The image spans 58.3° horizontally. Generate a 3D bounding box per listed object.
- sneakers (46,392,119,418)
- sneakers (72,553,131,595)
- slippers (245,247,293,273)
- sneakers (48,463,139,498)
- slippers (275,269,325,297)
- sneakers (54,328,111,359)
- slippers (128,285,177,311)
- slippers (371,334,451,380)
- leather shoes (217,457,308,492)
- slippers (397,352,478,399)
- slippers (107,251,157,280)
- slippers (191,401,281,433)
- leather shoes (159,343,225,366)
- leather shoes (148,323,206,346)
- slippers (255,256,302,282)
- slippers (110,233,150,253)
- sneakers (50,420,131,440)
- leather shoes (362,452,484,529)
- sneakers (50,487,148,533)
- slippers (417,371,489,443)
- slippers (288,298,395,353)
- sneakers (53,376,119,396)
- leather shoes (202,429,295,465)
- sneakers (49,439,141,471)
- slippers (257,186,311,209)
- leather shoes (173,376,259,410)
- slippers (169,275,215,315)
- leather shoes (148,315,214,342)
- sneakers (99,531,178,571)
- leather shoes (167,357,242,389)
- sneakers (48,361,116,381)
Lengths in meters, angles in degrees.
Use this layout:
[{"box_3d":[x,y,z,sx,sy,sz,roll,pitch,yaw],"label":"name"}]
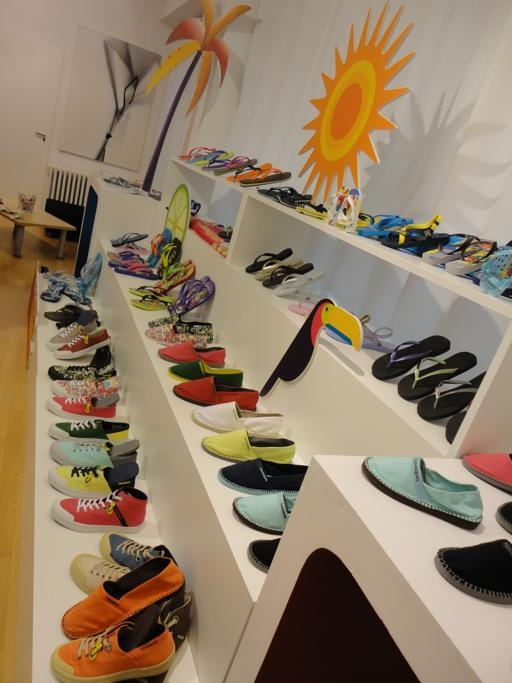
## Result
[{"box_3d":[-0.676,0.248,1.772,0.239,0.086,0.093,7,5,-19],"label":"sneakers"},{"box_3d":[-0.365,0.518,1.042,0.165,0.064,0.065,19,34,-18],"label":"sneakers"},{"box_3d":[0.051,-0.365,2.081,0.254,0.052,0.101,-29,32,-12],"label":"slippers"},{"box_3d":[-0.473,0.382,1.332,0.237,0.083,0.103,4,21,-17],"label":"sneakers"},{"box_3d":[0.188,-0.236,1.875,0.090,0.066,0.248,6,26,41],"label":"slippers"},{"box_3d":[-0.841,0.014,2.241,0.261,0.092,0.093,-29,43,-29],"label":"sneakers"},{"box_3d":[-0.534,-0.213,2.368,0.145,0.045,0.206,28,21,38],"label":"slippers"},{"box_3d":[0.453,0.038,1.306,0.253,0.041,0.111,-27,26,-18],"label":"slippers"},{"box_3d":[0.011,0.322,1.143,0.242,0.072,0.093,0,18,-6],"label":"leather shoes"},{"box_3d":[0.483,0.083,1.205,0.260,0.044,0.099,-31,28,-25],"label":"slippers"},{"box_3d":[-0.764,-0.460,2.827,0.253,0.066,0.211,10,16,-36],"label":"slippers"},{"box_3d":[-0.056,0.227,1.380,0.267,0.077,0.103,4,9,0],"label":"slippers"},{"box_3d":[-0.244,0.044,1.790,0.221,0.068,0.108,1,8,-21],"label":"leather shoes"},{"box_3d":[-0.334,-0.024,1.946,0.228,0.068,0.105,2,3,-23],"label":"leather shoes"},{"box_3d":[0.123,-0.321,2.012,0.239,0.055,0.093,-31,31,-15],"label":"slippers"},{"box_3d":[-0.923,-0.675,3.302,0.281,0.066,0.194,2,15,19],"label":"slippers"},{"box_3d":[-0.577,0.309,1.607,0.258,0.085,0.093,6,6,-16],"label":"sneakers"},{"box_3d":[0.226,0.203,0.661,0.165,0.052,0.079,20,21,14],"label":"leather shoes"},{"box_3d":[-0.421,0.445,1.266,0.267,0.113,0.103,3,32,-19],"label":"sneakers"},{"box_3d":[0.455,0.141,1.078,0.097,0.030,0.207,-2,20,44],"label":"slippers"},{"box_3d":[0.321,-0.040,1.639,0.195,0.073,0.314,2,13,-40],"label":"slippers"},{"box_3d":[-0.695,0.173,1.877,0.249,0.078,0.090,3,-1,-30],"label":"sneakers"},{"box_3d":[-0.032,0.283,1.240,0.259,0.075,0.101,4,17,-4],"label":"leather shoes"},{"box_3d":[-0.519,0.351,1.487,0.270,0.096,0.106,6,15,-20],"label":"sneakers"},{"box_3d":[0.124,-0.562,1.795,0.213,0.050,0.151,7,11,-27],"label":"slippers"},{"box_3d":[-0.138,0.173,1.489,0.293,0.092,0.113,4,25,-9],"label":"leather shoes"},{"box_3d":[-0.293,-0.227,2.249,0.154,0.260,0.063,36,-9,25],"label":"slippers"},{"box_3d":[-0.324,-0.045,1.970,0.219,0.070,0.124,2,4,-15],"label":"leather shoes"},{"box_3d":[-0.293,0.509,1.112,0.142,0.056,0.048,19,23,4],"label":"sneakers"},{"box_3d":[-0.183,0.128,1.606,0.257,0.068,0.102,7,13,1],"label":"leather shoes"},{"box_3d":[-0.739,0.136,1.980,0.286,0.085,0.101,3,-2,-15],"label":"sneakers"}]
